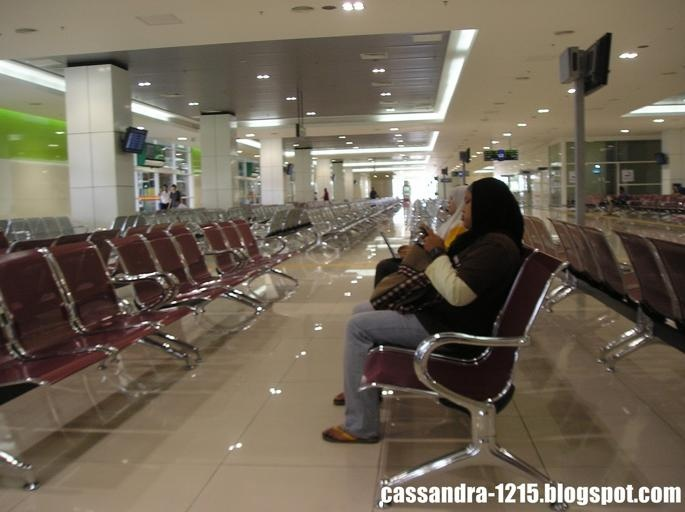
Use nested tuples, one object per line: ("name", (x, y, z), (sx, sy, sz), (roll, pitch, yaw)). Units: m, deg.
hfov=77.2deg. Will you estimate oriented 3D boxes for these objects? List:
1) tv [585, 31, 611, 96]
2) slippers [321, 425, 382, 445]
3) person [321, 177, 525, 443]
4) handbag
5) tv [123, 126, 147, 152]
("tv", (2.766, -2.045, 4.669), (0.164, 0.391, 0.392), (1, 49, 13))
("slippers", (0.049, 0.879, 2.147), (0.271, 0.066, 0.103), (1, -4, 1))
("person", (0.425, 0.269, 2.137), (0.872, 1.277, 0.546), (2, 11, 20))
("handbag", (0.330, 0.148, 2.153), (0.350, 0.149, 0.345), (-39, 7, 1))
("tv", (-4.764, -2.676, 9.854), (0.402, 0.602, 0.537), (4, 11, 30))
